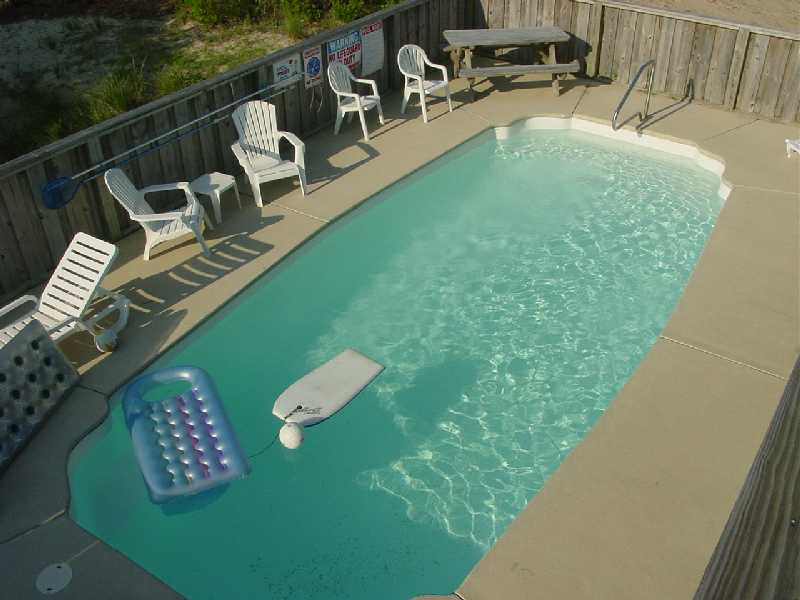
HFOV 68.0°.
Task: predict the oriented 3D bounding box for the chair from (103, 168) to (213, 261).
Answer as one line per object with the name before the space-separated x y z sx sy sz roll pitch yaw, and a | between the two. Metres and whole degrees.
chair | -2.840 -1.075 7.087 0.999 0.967 0.816 -4 36 -10

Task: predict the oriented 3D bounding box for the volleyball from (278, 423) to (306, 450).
volleyball | -0.972 1.244 5.511 0.213 0.218 0.277 -19 71 26

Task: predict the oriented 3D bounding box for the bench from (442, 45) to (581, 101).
bench | 2.070 -4.461 11.050 2.249 0.792 1.822 2 39 4

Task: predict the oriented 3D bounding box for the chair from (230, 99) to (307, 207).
chair | -1.834 -2.013 8.173 0.858 1.040 1.096 -21 43 -25

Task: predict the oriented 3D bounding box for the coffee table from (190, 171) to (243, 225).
coffee table | -2.429 -1.334 7.827 0.532 0.458 0.560 32 60 19
